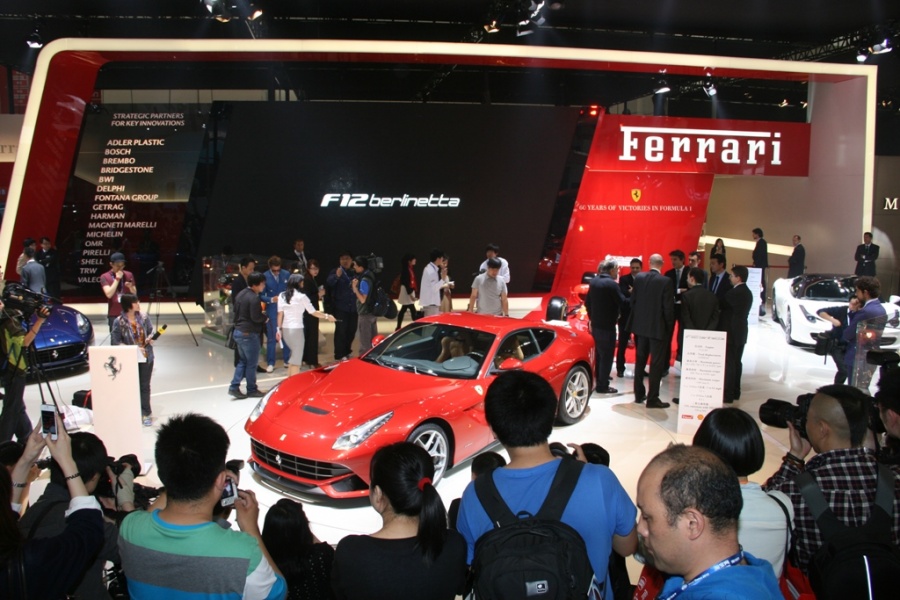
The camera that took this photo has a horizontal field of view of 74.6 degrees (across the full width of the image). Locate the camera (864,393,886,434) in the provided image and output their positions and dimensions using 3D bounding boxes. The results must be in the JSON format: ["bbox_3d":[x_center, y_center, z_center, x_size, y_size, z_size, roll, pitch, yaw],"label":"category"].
[{"bbox_3d":[3.254,0.889,4.509,0.110,0.302,0.689,4,0,39],"label":"camera"}]

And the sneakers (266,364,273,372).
[{"bbox_3d":[-3.152,1.207,10.464,0.078,0.072,0.159,1,5,-4],"label":"sneakers"}]

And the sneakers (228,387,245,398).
[{"bbox_3d":[-3.264,1.427,9.098,0.271,0.189,0.092,-1,33,-45],"label":"sneakers"}]

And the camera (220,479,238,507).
[{"bbox_3d":[-1.274,1.125,3.433,0.098,0.111,0.189,5,-44,-7],"label":"camera"}]

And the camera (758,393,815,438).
[{"bbox_3d":[2.510,0.862,4.489,0.186,0.241,0.383,11,-8,24],"label":"camera"}]

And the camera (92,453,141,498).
[{"bbox_3d":[-2.278,1.185,4.069,0.174,0.336,0.117,13,-8,-14],"label":"camera"}]

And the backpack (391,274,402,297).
[{"bbox_3d":[-1.119,-0.225,12.353,0.148,0.386,0.522,13,-32,-13],"label":"backpack"}]

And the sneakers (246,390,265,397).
[{"bbox_3d":[-2.964,1.438,9.106,0.273,0.116,0.097,-2,26,-16],"label":"sneakers"}]

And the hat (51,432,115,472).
[{"bbox_3d":[-2.455,1.062,3.910,0.311,0.343,0.259,2,-2,32],"label":"hat"}]

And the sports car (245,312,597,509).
[{"bbox_3d":[-0.125,1.186,7.505,4.536,2.113,1.836,4,0,-39],"label":"sports car"}]

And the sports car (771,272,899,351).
[{"bbox_3d":[7.566,0.038,12.149,1.869,1.075,3.385,1,6,9],"label":"sports car"}]
